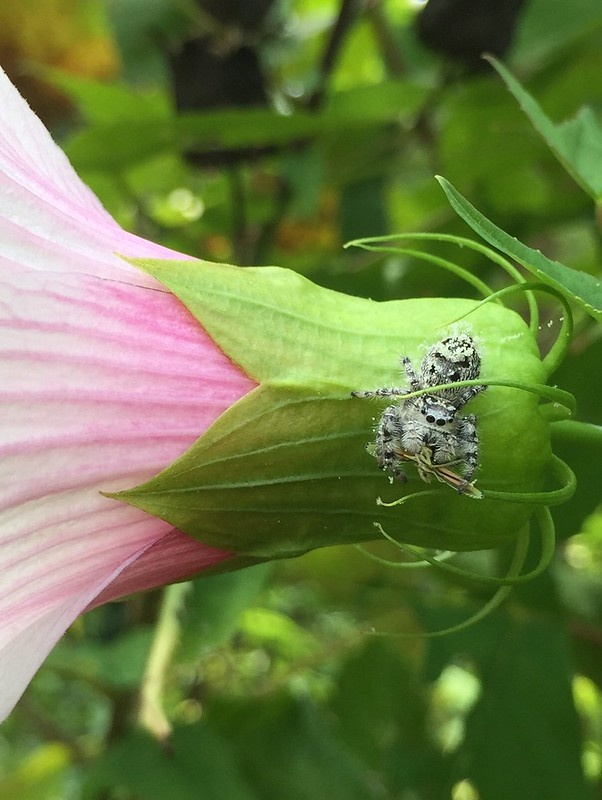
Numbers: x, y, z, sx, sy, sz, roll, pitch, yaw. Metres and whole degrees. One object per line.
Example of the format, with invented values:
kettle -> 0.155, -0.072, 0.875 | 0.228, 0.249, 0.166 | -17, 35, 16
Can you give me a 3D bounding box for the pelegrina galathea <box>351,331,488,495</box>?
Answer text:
pelegrina galathea -> 0.110, 0.016, 0.810 | 0.181, 0.054, 0.136 | 6, 79, -14
